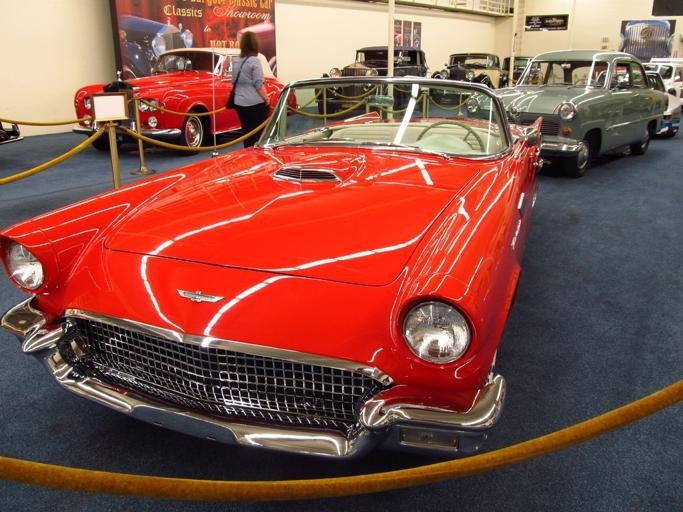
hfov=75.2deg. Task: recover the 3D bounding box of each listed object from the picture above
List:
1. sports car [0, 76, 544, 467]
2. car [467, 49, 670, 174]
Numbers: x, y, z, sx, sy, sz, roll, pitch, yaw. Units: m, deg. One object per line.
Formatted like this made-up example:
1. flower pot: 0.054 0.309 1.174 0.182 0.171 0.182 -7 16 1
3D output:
1. sports car: 0.319 -0.155 2.715 2.024 0.949 3.176 9 23 26
2. car: 3.956 -2.456 7.660 3.996 1.561 2.280 -16 20 -41
